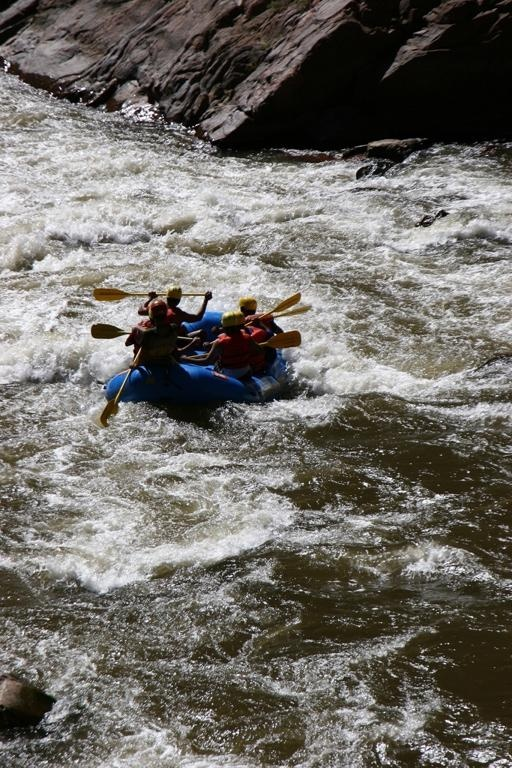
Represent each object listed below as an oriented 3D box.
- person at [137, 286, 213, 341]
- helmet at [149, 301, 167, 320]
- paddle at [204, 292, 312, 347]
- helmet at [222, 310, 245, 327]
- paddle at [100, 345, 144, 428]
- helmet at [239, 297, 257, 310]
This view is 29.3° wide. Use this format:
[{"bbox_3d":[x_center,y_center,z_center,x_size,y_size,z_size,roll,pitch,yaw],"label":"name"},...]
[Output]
[{"bbox_3d":[-0.784,-0.669,9.598,0.676,0.716,0.428,9,48,-5],"label":"person"},{"bbox_3d":[-0.875,-0.641,8.673,0.157,0.176,0.170,4,41,-14],"label":"helmet"},{"bbox_3d":[0.051,-0.657,9.638,0.682,0.245,0.609,-21,36,27],"label":"paddle"},{"bbox_3d":[-0.222,-0.594,8.914,0.134,0.126,0.172,-18,27,-17],"label":"helmet"},{"bbox_3d":[-1.189,0.052,8.730,0.114,0.067,0.973,24,57,17],"label":"paddle"},{"bbox_3d":[-0.054,-0.784,9.786,0.170,0.123,0.116,-19,53,-31],"label":"helmet"}]
